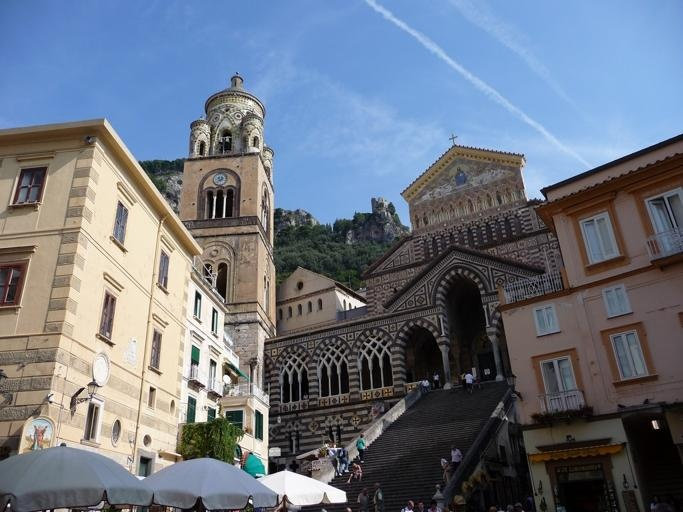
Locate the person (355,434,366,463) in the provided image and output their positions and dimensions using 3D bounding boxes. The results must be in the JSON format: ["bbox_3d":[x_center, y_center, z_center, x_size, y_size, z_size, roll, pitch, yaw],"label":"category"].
[{"bbox_3d":[0.787,8.169,22.521,0.431,1.191,1.056,-2,-24,1],"label":"person"}]

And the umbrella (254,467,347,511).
[{"bbox_3d":[-1.286,6.306,14.247,1.783,0.726,1.954,-19,-51,27],"label":"umbrella"}]

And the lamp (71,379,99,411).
[{"bbox_3d":[-7.235,4.033,15.015,0.496,0.850,0.899,-5,-24,6],"label":"lamp"}]

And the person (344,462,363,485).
[{"bbox_3d":[0.463,8.347,20.330,0.525,0.756,0.730,-5,-31,8],"label":"person"}]

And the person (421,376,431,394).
[{"bbox_3d":[4.743,7.412,29.983,0.344,0.853,0.780,-14,-27,26],"label":"person"}]

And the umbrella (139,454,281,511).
[{"bbox_3d":[-2.880,4.917,11.464,2.652,1.077,1.223,7,-26,-20],"label":"umbrella"}]
